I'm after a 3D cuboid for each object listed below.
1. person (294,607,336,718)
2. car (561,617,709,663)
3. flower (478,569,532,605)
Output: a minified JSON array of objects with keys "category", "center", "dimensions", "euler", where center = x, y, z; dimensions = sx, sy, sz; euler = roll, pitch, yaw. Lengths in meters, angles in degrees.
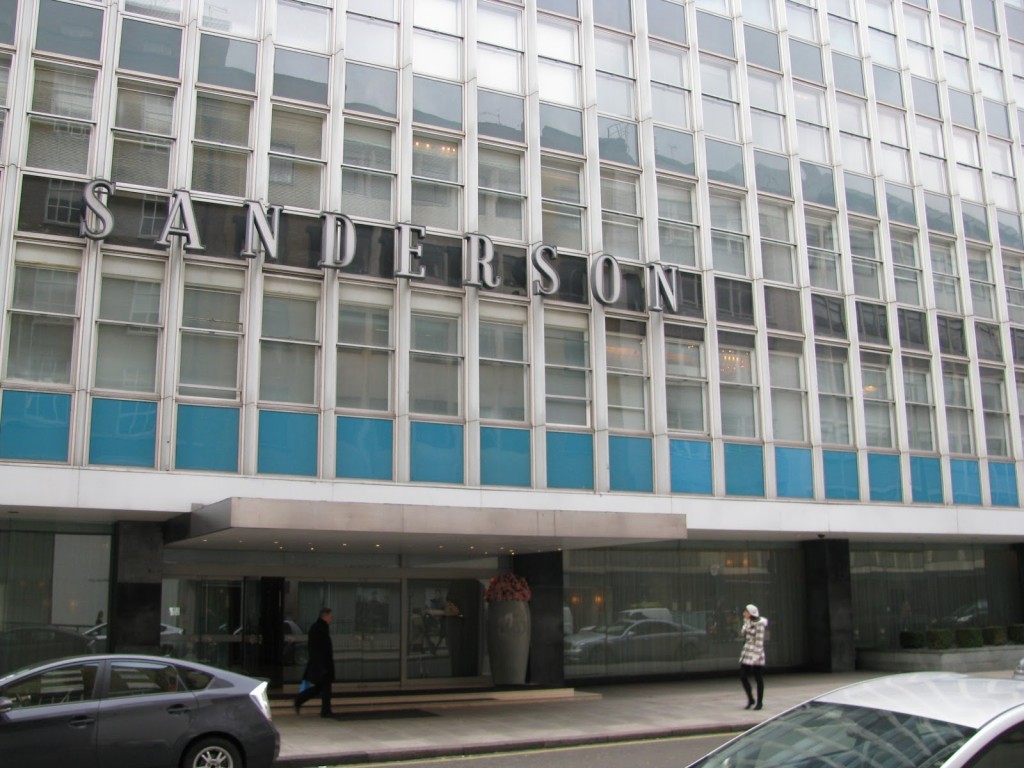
[{"category":"person","center":[-4.009,5.604,21.765],"dimensions":[0.725,2.162,1.449],"euler":[1,-15,-9]},{"category":"car","center":[3.165,6.859,28.750],"dimensions":[3.103,0.852,1.412],"euler":[6,-13,-23]},{"category":"flower","center":[-0.094,4.751,25.037],"dimensions":[0.763,0.484,0.738],"euler":[-1,-16,12]}]
